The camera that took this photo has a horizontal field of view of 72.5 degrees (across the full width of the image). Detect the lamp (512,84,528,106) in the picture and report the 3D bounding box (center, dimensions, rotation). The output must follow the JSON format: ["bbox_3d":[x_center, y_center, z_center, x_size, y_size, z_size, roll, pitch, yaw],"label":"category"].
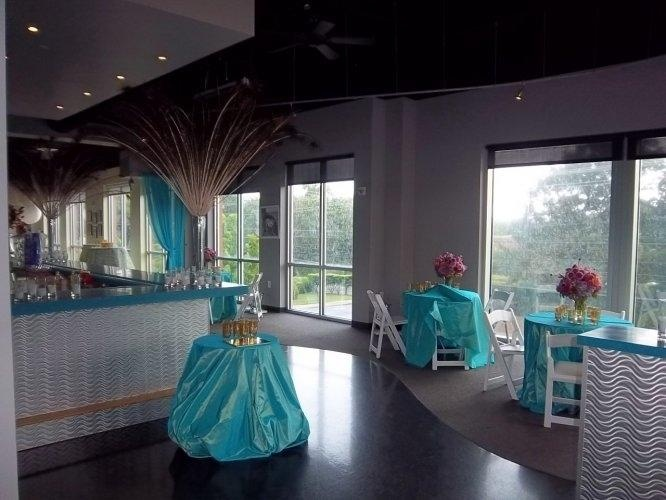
[{"bbox_3d":[2.789,-2.356,6.737,0.168,0.270,0.368,1,2,17],"label":"lamp"}]

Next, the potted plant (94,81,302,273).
[{"bbox_3d":[-1.418,-0.812,4.819,1.567,1.928,0.708,1,2,-2],"label":"potted plant"}]

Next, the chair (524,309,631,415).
[{"bbox_3d":[2.395,1.077,4.689,0.962,0.778,0.976,-3,2,-32],"label":"chair"}]

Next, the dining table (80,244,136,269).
[{"bbox_3d":[-4.704,0.122,9.417,0.985,0.559,0.936,9,-6,-35],"label":"dining table"}]

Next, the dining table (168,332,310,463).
[{"bbox_3d":[-0.726,1.155,3.464,0.863,0.582,0.883,2,2,44],"label":"dining table"}]

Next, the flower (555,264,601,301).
[{"bbox_3d":[2.671,0.300,4.948,0.427,0.471,0.439,2,10,33],"label":"flower"}]

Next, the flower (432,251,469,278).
[{"bbox_3d":[1.718,0.231,6.695,0.450,0.493,0.454,2,-1,43],"label":"flower"}]
